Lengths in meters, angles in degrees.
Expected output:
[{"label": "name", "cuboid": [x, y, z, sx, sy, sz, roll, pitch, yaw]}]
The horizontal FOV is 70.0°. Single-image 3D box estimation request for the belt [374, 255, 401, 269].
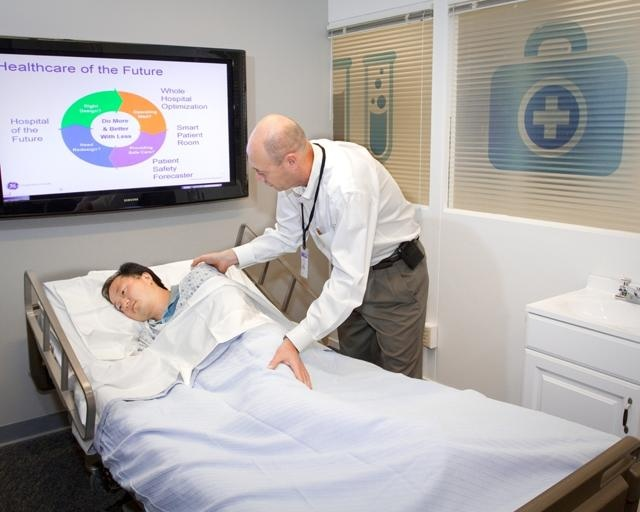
[{"label": "belt", "cuboid": [0.345, 0.035, 2.341, 0.089, 0.035, 0.079, -28, -2, 27]}]
